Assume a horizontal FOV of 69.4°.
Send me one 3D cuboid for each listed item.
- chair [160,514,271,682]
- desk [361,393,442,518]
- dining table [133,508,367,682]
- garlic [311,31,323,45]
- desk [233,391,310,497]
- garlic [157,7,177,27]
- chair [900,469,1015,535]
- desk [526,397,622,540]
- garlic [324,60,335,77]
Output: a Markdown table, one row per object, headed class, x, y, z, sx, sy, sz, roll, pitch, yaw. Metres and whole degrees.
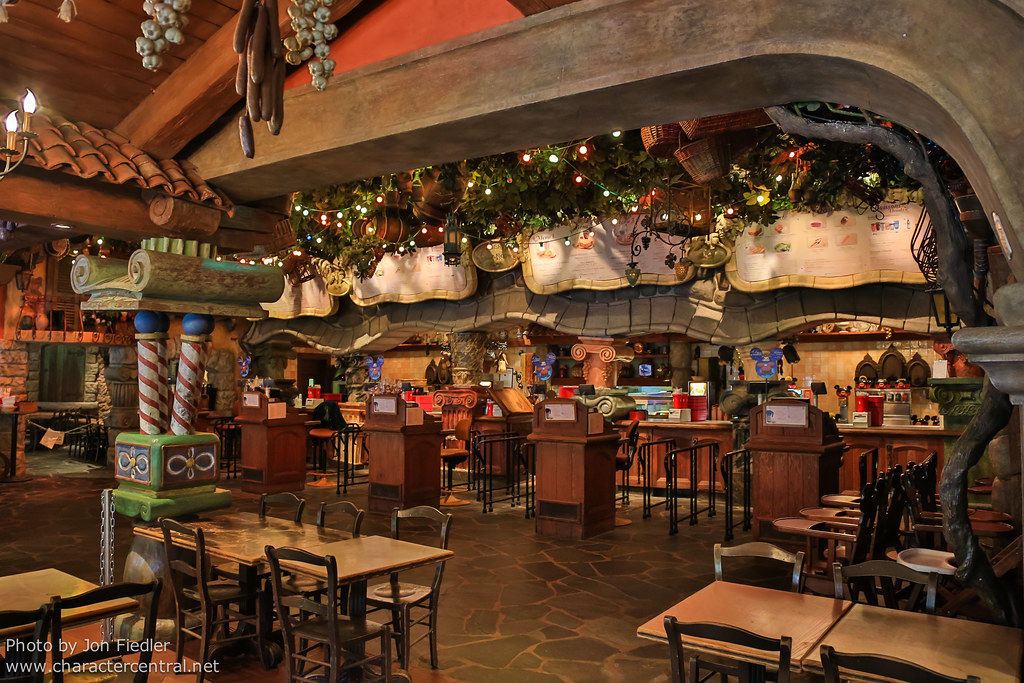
| class | x | y | z | sx | sy | sz | roll | pitch | yaw |
| --- | --- | --- | --- | --- | --- | --- | --- | --- | --- |
| chair | -2.577 | 2.122 | 6.281 | 0.812 | 1.259 | 1.193 | 4 | -7 | -28 |
| desk | -1.631 | 1.816 | 12.095 | 1.498 | 1.712 | 1.331 | 5 | -8 | -27 |
| dining table | -2.272 | 2.359 | 6.371 | 1.294 | 1.065 | 2.304 | 0 | 0 | -45 |
| garlic | -1.087 | -1.685 | 4.122 | 0.055 | 0.063 | 0.033 | -2 | 12 | -24 |
| desk | -4.408 | 1.797 | 13.229 | 1.398 | 1.764 | 1.325 | 2 | -6 | -42 |
| garlic | -1.844 | -1.740 | 3.964 | 0.094 | 0.092 | 0.046 | 2 | -7 | -18 |
| chair | 3.998 | 1.484 | 6.805 | 0.757 | 0.527 | 1.557 | 0 | -6 | 3 |
| desk | 0.838 | 1.739 | 10.223 | 1.178 | 1.850 | 0.695 | 0 | -7 | 6 |
| garlic | -1.053 | -1.586 | 4.319 | 0.071 | 0.070 | 0.085 | 1 | -12 | -18 |
